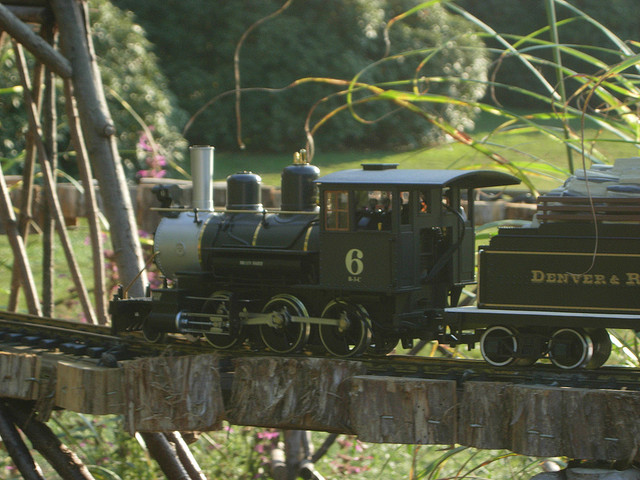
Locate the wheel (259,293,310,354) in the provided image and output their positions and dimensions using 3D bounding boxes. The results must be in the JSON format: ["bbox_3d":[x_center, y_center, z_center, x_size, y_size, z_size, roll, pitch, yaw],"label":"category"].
[{"bbox_3d":[-0.519,1.354,18.800,1.395,0.990,0.404,-1,-4,29],"label":"wheel"}]

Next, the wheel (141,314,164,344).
[{"bbox_3d":[-2.778,1.478,19.390,0.370,0.471,0.348,-1,5,0],"label":"wheel"}]

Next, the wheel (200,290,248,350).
[{"bbox_3d":[-1.605,1.312,19.242,0.631,0.938,0.732,-6,7,-41],"label":"wheel"}]

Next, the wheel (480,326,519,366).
[{"bbox_3d":[2.753,1.603,17.679,0.314,0.585,0.477,-5,7,-37],"label":"wheel"}]

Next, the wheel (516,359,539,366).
[{"bbox_3d":[3.183,1.850,17.723,0.184,0.108,0.169,24,10,-5],"label":"wheel"}]

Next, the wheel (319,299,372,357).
[{"bbox_3d":[0.300,1.411,18.479,1.058,0.704,0.342,3,-6,-32],"label":"wheel"}]
